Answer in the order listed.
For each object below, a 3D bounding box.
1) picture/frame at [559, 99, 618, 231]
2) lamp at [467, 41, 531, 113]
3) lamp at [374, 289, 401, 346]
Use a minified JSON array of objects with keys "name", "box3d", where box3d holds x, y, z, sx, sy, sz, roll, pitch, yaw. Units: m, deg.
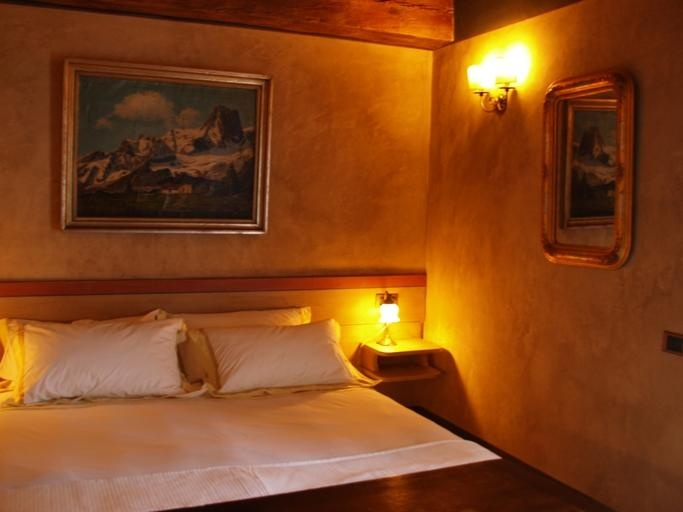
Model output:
[{"name":"picture/frame","box3d":[1.424,-0.523,3.482,0.081,0.726,0.446,-2,13,-19]},{"name":"lamp","box3d":[1.006,-1.170,4.029,0.244,0.444,0.469,-2,13,-22]},{"name":"lamp","box3d":[0.352,0.467,4.564,0.196,0.397,0.160,0,3,-6]}]
